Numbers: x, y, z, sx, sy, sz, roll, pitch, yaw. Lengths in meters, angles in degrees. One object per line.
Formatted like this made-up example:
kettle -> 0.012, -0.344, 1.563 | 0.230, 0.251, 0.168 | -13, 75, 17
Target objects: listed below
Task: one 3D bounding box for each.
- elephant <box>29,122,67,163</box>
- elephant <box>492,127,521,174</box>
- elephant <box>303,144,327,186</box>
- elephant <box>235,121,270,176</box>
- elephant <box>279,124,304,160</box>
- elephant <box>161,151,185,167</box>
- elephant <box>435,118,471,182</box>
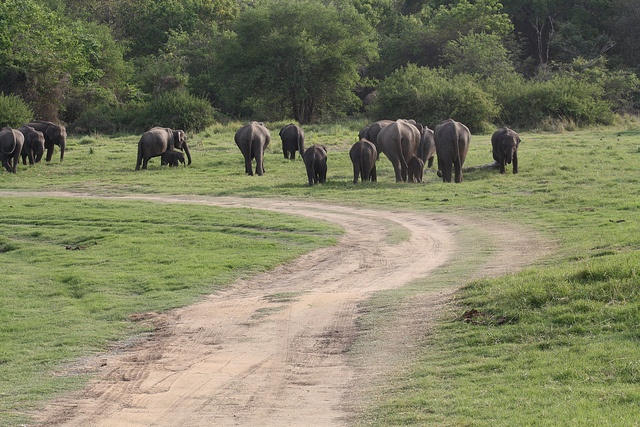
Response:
elephant -> -17.065, -4.710, 58.905 | 3.374, 2.523, 1.513 | 3, 6, 27
elephant -> 10.221, -3.494, 53.334 | 1.228, 2.548, 1.990 | -2, 5, -1
elephant -> -0.254, -2.636, 52.049 | 1.173, 2.202, 0.694 | -3, 5, -14
elephant -> -4.033, -3.938, 57.580 | 2.088, 2.979, 5.461 | -1, 5, -2
elephant -> -1.660, -4.291, 57.685 | 1.276, 2.101, 1.538 | -3, 5, -9
elephant -> -8.788, -3.277, 57.397 | 1.686, 0.933, 0.714 | 0, 6, 7
elephant -> 7.012, -3.428, 52.065 | 1.680, 3.480, 2.458 | -3, 15, 2
